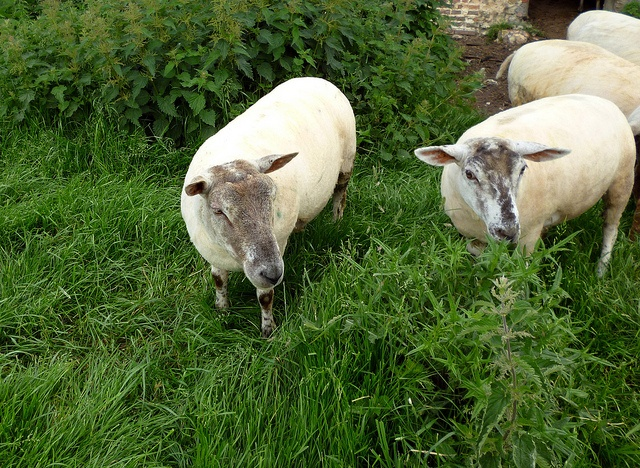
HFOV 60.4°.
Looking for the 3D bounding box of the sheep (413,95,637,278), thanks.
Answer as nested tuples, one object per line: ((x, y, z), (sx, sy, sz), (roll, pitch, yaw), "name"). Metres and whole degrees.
((1.922, -0.405, 4.981), (1.971, 1.370, 1.042), (-25, 42, -18), "sheep")
